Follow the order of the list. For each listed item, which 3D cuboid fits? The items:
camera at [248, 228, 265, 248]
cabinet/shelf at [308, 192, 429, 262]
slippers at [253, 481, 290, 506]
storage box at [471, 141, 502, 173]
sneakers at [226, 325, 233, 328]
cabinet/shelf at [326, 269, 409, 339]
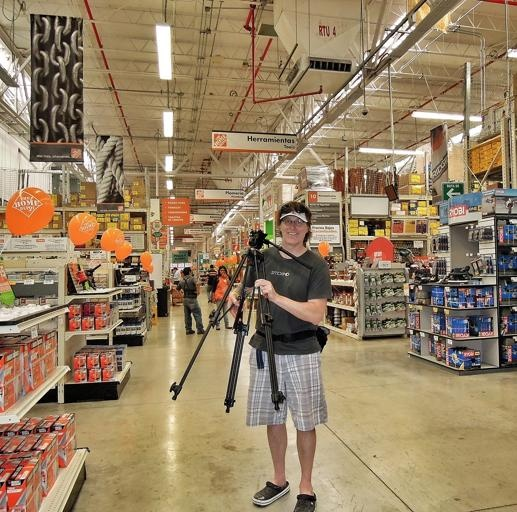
[{"bbox_3d":[-0.017,-0.090,2.359,0.085,0.099,0.072,-2,1,-8],"label":"camera"},{"bbox_3d":[2.388,-0.692,9.959,1.448,1.511,0.499,-1,2,-7],"label":"cabinet/shelf"},{"bbox_3d":[0.079,1.423,2.707,0.087,0.090,0.209,-9,-9,44],"label":"slippers"},{"bbox_3d":[3.935,-1.722,7.647,0.321,0.505,0.831,-1,-3,3],"label":"storage box"},{"bbox_3d":[-0.637,1.573,9.867,0.046,0.102,0.138,0,-7,-43],"label":"sneakers"},{"bbox_3d":[1.980,0.841,8.453,1.010,1.347,1.428,1,-3,-37],"label":"cabinet/shelf"}]
